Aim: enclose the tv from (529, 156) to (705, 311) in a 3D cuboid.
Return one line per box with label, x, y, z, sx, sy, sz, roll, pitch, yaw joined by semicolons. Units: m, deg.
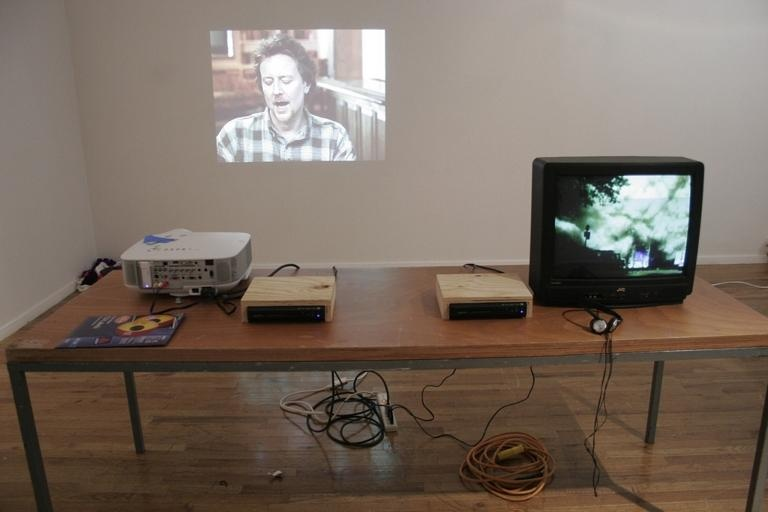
tv;1.235;-0.123;3.233;0.942;0.691;0.455;0;12;2
